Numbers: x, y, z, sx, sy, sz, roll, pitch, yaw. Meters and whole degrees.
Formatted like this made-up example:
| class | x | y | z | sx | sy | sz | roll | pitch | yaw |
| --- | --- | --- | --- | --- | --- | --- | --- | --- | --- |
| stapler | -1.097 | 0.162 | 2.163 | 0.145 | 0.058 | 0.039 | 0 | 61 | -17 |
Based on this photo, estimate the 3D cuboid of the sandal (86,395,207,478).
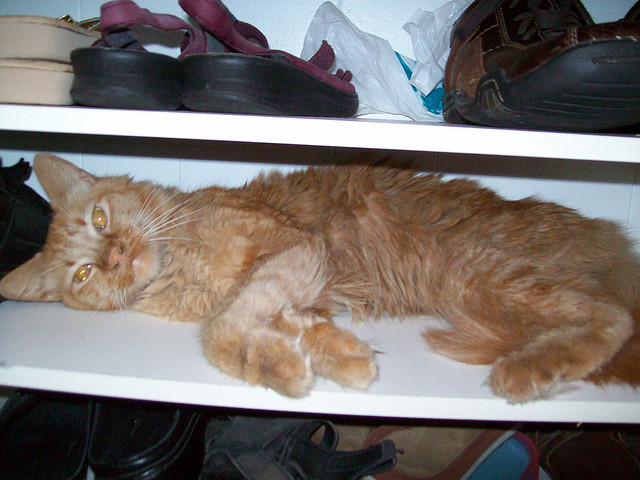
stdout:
| class | x | y | z | sx | sy | sz | roll | pitch | yaw |
| --- | --- | --- | --- | --- | --- | --- | --- | --- | --- |
| sandal | -0.485 | 0.546 | 1.574 | 0.371 | 0.121 | 0.233 | -2 | 57 | 1 |
